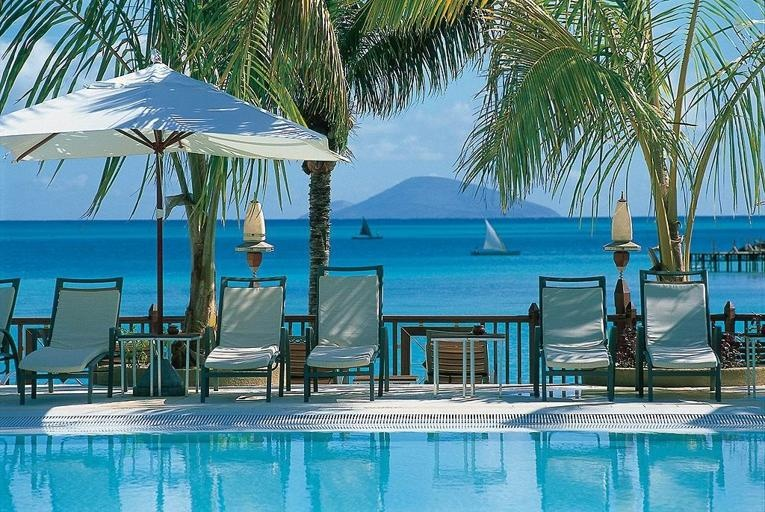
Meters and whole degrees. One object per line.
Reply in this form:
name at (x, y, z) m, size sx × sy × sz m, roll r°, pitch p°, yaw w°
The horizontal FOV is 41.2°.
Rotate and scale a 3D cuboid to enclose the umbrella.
umbrella at (-2.807, -0.828, 12.912) m, size 4.014 × 3.480 × 1.956 m, roll -1°, pitch -9°, yaw -3°
